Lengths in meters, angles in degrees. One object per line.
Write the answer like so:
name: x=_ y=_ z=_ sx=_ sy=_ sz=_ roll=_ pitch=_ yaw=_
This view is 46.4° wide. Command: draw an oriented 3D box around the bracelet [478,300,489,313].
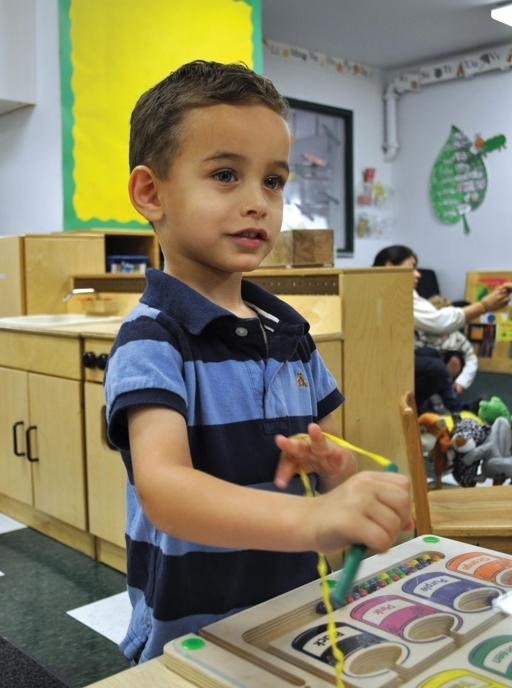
bracelet: x=1.152 y=-0.192 z=3.009 sx=0.054 sy=0.048 sz=0.052 roll=-1 pitch=0 yaw=-26
